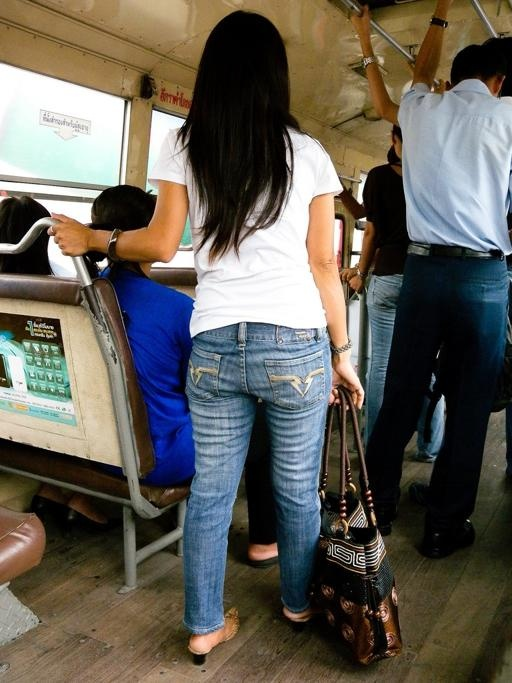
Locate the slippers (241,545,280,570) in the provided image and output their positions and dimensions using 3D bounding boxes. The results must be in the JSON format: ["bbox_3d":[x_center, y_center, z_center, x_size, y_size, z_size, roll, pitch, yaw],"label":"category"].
[{"bbox_3d":[0.019,0.839,2.022,0.147,0.094,0.066,-1,0,-7],"label":"slippers"}]

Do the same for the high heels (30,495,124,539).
[{"bbox_3d":[-0.785,0.725,2.193,0.408,0.176,0.136,14,-14,-43],"label":"high heels"}]

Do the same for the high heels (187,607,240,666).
[{"bbox_3d":[-0.106,0.831,1.532,0.070,0.087,0.206,17,22,30],"label":"high heels"}]
